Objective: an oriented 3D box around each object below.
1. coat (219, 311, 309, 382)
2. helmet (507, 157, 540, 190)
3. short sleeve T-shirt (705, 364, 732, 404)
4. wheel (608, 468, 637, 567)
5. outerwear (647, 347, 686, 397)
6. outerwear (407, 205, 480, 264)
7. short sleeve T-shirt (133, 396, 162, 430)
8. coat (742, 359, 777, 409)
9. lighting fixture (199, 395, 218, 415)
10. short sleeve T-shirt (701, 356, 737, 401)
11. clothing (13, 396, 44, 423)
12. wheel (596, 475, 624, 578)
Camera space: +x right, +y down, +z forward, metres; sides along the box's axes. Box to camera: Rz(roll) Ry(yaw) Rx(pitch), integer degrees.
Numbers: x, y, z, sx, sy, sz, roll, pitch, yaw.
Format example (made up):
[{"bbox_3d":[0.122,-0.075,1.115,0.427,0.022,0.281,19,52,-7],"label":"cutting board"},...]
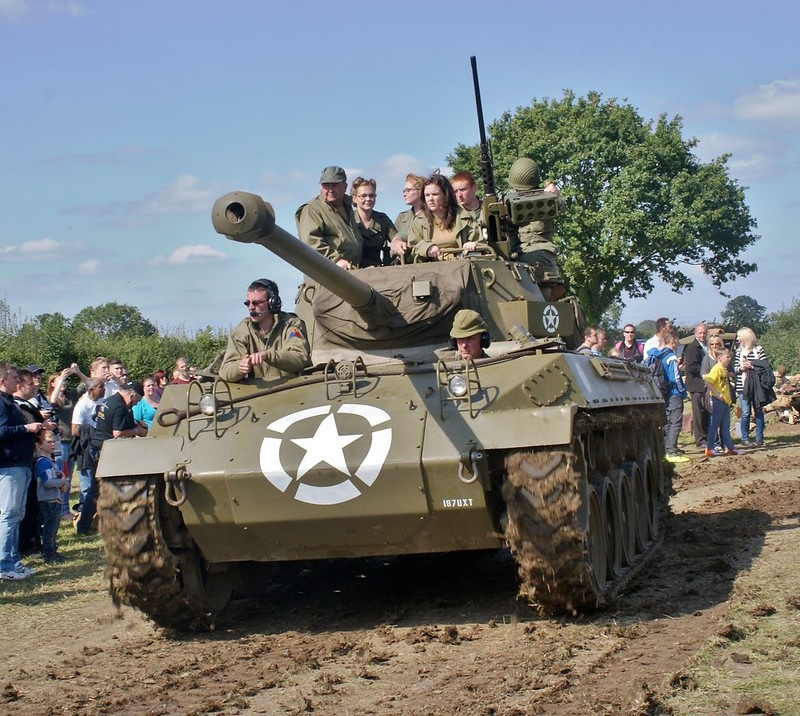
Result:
[{"bbox_3d":[-1.222,-0.075,9.160,0.577,0.811,0.815,-7,-3,12],"label":"coat"},{"bbox_3d":[1.360,-2.005,11.169,0.319,0.336,0.390,17,37,15],"label":"helmet"},{"bbox_3d":[5.627,0.461,17.745,0.433,0.755,0.447,-3,1,12],"label":"short sleeve T-shirt"},{"bbox_3d":[2.112,1.544,9.578,0.127,0.796,0.632,-7,16,15],"label":"wheel"},{"bbox_3d":[4.719,0.238,17.850,0.446,0.880,0.736,-14,6,-16],"label":"outerwear"},{"bbox_3d":[0.457,-1.358,10.968,0.837,0.974,0.543,-1,-9,5],"label":"outerwear"},{"bbox_3d":[-3.308,0.704,13.088,0.388,0.450,0.234,2,-8,-4],"label":"short sleeve T-shirt"},{"bbox_3d":[7.050,0.478,19.755,0.612,0.917,0.452,-3,1,9],"label":"coat"},{"bbox_3d":[-1.658,0.392,8.533,0.114,0.116,0.194,-36,-15,23],"label":"lighting fixture"},{"bbox_3d":[5.725,0.379,17.981,0.505,1.003,0.987,-5,5,18],"label":"short sleeve T-shirt"},{"bbox_3d":[-4.408,0.605,11.838,0.127,0.265,0.252,-17,0,-8],"label":"clothing"},{"bbox_3d":[1.869,1.531,8.989,0.144,0.896,0.708,-7,4,19],"label":"wheel"}]
